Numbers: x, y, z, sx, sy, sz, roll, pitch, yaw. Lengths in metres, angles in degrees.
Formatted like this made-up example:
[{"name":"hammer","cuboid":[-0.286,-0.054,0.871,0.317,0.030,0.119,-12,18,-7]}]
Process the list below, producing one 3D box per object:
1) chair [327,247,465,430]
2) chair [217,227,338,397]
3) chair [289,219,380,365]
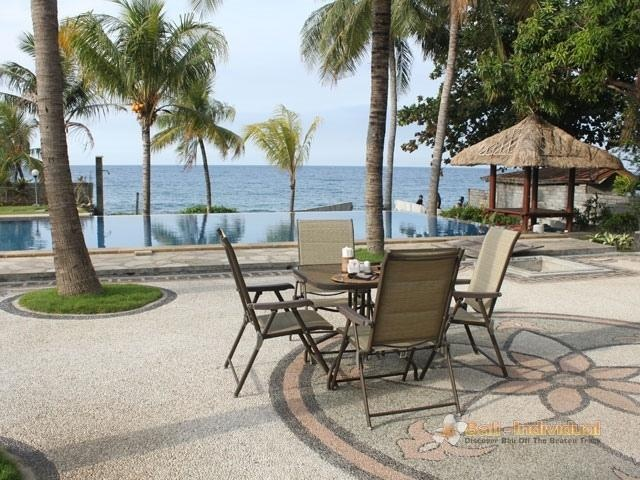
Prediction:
[{"name":"chair","cuboid":[0.775,0.722,5.672,1.454,2.033,1.590,0,6,-21]},{"name":"chair","cuboid":[-0.458,0.694,5.858,1.309,1.494,1.130,0,8,0]},{"name":"chair","cuboid":[0.027,0.368,6.992,1.027,1.429,1.173,-6,-2,1]}]
